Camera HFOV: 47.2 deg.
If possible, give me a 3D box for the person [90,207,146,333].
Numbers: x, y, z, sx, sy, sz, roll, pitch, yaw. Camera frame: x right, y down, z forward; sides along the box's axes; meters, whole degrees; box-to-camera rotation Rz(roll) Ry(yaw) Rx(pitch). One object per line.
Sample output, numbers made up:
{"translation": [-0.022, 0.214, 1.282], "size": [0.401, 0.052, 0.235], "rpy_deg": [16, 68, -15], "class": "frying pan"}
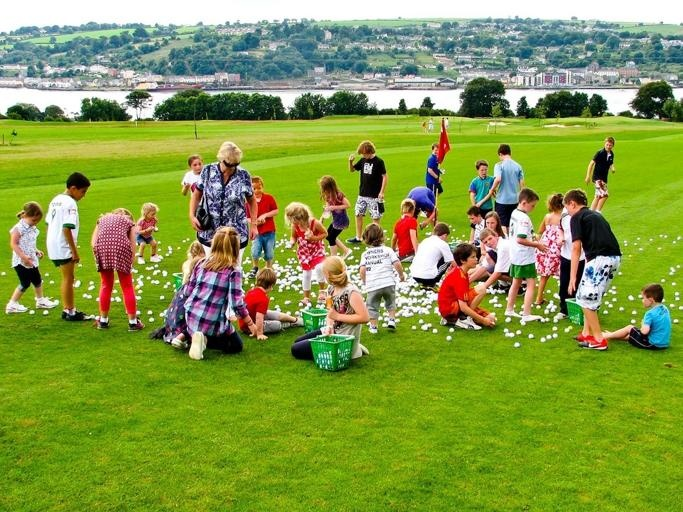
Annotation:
{"translation": [-4.149, 0.166, 14.458], "size": [0.820, 2.380, 0.847], "rpy_deg": [1, -1, -6], "class": "person"}
